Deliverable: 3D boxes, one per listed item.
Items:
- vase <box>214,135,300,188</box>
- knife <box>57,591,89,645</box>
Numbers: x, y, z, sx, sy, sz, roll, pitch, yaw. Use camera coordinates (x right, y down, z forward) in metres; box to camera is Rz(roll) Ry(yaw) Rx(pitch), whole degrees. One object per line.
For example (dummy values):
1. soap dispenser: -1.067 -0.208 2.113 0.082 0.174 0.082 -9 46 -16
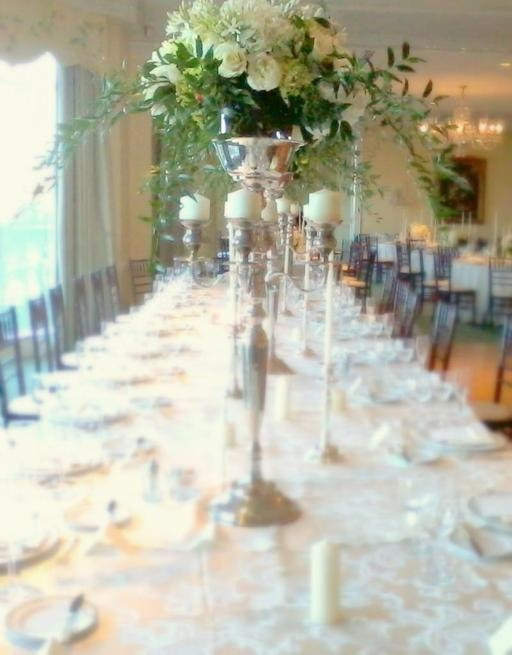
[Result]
1. vase: -0.016 -0.267 0.963 0.117 0.074 0.121 3 14 1
2. knife: -0.187 0.299 0.599 0.033 0.007 0.033 -5 31 9
